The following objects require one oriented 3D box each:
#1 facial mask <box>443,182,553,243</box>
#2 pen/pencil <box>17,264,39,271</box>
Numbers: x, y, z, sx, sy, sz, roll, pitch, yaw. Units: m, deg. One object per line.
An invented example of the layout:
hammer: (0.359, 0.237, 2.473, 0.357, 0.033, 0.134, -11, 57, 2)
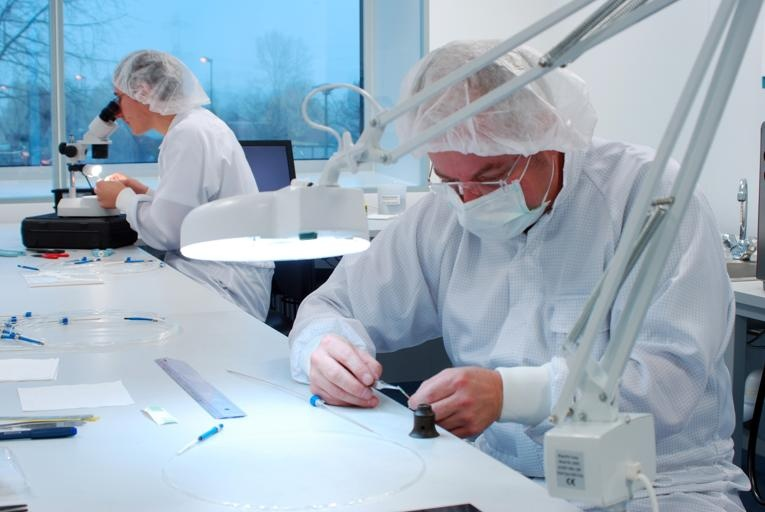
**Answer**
facial mask: (0.250, -0.096, 1.508, 0.165, 0.132, 0.176, -3, 10, -17)
pen/pencil: (-1.292, 0.042, 2.484, 0.064, 0.012, 0.007, 9, -25, 5)
